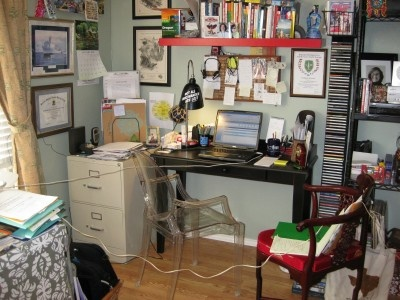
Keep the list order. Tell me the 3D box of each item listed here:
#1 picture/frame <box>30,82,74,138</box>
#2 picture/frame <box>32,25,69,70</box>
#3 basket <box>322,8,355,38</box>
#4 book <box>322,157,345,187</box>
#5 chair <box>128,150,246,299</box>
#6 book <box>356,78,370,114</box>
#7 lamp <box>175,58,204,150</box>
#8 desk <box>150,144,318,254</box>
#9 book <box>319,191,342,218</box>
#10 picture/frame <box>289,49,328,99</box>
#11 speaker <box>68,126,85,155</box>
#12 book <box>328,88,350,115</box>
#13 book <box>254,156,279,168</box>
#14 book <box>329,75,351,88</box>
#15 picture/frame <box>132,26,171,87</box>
[{"bbox_3d":[-1.397,-0.379,2.972,0.016,0.476,0.462,9,19,27],"label":"picture/frame"},{"bbox_3d":[-1.376,-0.939,2.898,0.027,0.433,0.436,6,10,23],"label":"picture/frame"},{"bbox_3d":[1.162,-1.125,2.688,0.202,0.258,0.366,-3,29,5],"label":"basket"},{"bbox_3d":[1.212,0.188,2.869,0.208,0.258,0.078,-1,14,-4],"label":"book"},{"bbox_3d":[-0.158,0.597,3.218,1.128,1.677,0.998,-7,13,-29],"label":"chair"},{"bbox_3d":[1.282,-0.418,2.488,0.050,0.224,0.157,3,6,17],"label":"book"},{"bbox_3d":[-0.075,-0.464,3.158,0.236,0.832,0.532,0,14,0],"label":"lamp"},{"bbox_3d":[0.290,0.534,3.070,1.366,0.922,0.549,6,9,21],"label":"desk"},{"bbox_3d":[1.167,0.494,2.883,0.186,0.082,0.260,0,8,15],"label":"book"},{"bbox_3d":[1.027,-0.721,2.974,0.445,0.636,0.043,3,8,27],"label":"picture/frame"},{"bbox_3d":[-1.236,-0.090,3.184,0.087,0.289,0.266,2,3,12],"label":"speaker"},{"bbox_3d":[1.201,-0.419,2.771,0.149,0.221,0.056,2,9,18],"label":"book"},{"bbox_3d":[0.585,0.100,2.809,0.155,0.015,0.340,7,16,24],"label":"book"},{"bbox_3d":[1.197,-0.589,2.746,0.127,0.128,0.034,9,3,13],"label":"book"},{"bbox_3d":[-0.507,-1.020,3.415,0.592,0.846,0.036,3,9,21],"label":"picture/frame"}]
